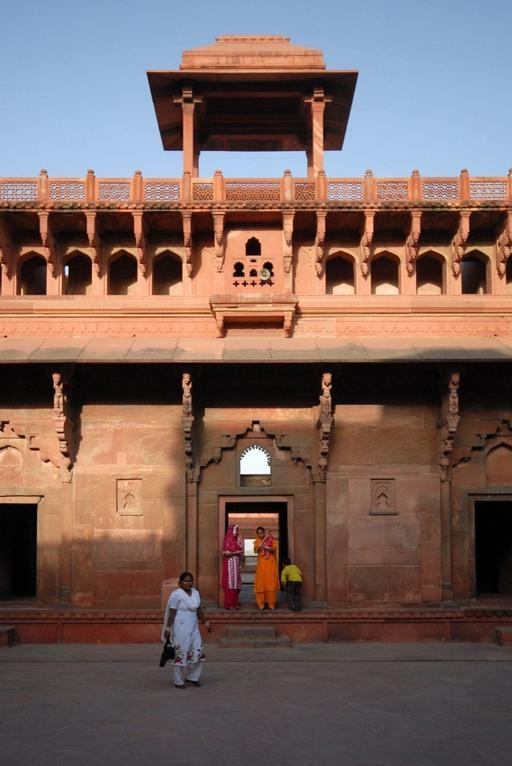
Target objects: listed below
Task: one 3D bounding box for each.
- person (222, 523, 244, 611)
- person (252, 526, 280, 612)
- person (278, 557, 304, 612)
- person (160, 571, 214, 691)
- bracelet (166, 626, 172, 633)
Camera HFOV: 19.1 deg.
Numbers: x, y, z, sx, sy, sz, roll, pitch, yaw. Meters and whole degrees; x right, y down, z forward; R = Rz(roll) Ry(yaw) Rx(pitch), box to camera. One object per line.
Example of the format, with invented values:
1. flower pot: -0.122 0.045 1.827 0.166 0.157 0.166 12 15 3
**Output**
1. person: -0.341 2.636 21.885 0.262 1.196 0.548 1 -9 -2
2. person: 0.176 2.665 21.999 0.383 1.200 0.645 1 -9 0
3. person: 0.525 2.880 21.751 0.319 0.759 0.597 1 -9 0
4. person: -0.829 2.869 17.737 0.560 1.320 0.448 4 -9 -17
5. bracelet: -1.005 2.844 17.636 0.050 0.080 0.026 1 -2 -27
